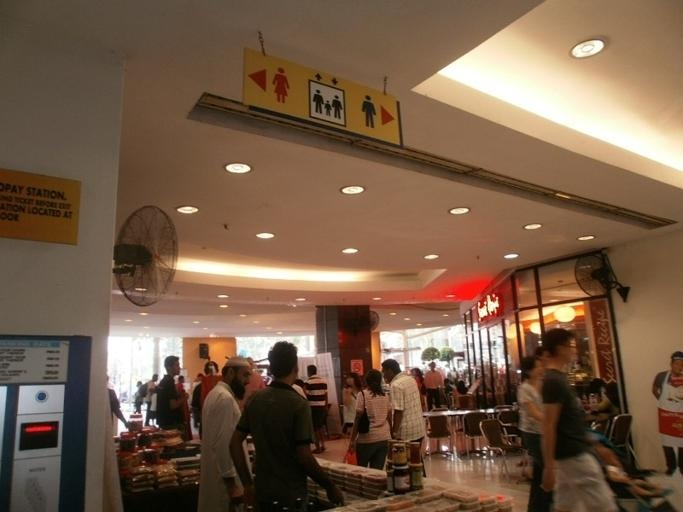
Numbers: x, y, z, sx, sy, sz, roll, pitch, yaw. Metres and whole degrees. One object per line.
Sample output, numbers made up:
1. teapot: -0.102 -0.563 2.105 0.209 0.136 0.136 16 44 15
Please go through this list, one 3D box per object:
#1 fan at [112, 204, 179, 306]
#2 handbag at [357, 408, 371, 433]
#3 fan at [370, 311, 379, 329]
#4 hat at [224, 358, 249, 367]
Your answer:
1. fan: -1.562 0.013 3.695 0.439 0.749 0.546 -4 -9 15
2. handbag: 0.246 1.841 5.506 0.139 0.262 0.063 -2 -12 1
3. fan: 0.871 1.686 13.207 0.215 0.478 0.634 -2 -12 3
4. hat: -0.942 0.948 4.432 0.121 0.039 0.131 5 -5 12
